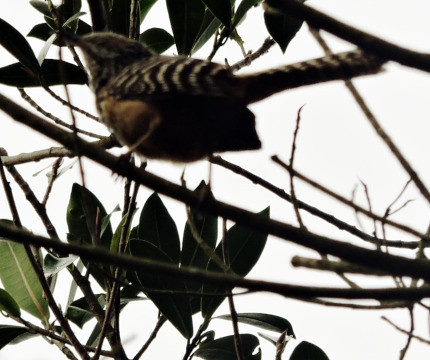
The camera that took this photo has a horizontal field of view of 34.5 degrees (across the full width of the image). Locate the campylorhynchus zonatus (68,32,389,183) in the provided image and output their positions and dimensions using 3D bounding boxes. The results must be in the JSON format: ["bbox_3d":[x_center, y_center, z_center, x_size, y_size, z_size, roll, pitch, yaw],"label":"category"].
[{"bbox_3d":[-0.071,-0.317,2.841,0.978,0.466,0.284,-15,-29,19],"label":"campylorhynchus zonatus"}]
